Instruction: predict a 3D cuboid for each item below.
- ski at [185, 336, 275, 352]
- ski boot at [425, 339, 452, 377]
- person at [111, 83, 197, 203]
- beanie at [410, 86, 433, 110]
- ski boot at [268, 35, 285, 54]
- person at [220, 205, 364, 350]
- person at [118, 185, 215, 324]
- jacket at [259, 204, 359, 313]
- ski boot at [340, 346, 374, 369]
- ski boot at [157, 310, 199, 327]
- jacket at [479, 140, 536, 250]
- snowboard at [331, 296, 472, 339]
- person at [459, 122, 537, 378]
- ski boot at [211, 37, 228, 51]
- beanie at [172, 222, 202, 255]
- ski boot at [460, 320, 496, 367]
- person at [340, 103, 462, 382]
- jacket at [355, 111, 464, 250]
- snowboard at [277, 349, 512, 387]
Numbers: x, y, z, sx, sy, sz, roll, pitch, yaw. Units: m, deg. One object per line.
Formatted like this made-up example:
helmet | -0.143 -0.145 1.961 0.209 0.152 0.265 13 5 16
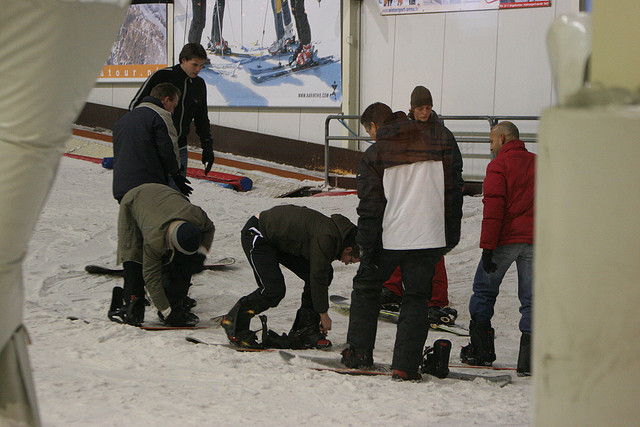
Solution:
ski | -0.659 0.906 5.031 0.604 0.050 0.234 5 7 12
ski boot | 0.791 0.942 4.724 0.162 0.267 0.177 9 -22 10
person | -1.314 -0.556 5.725 0.573 0.921 0.453 1 7 -17
beanie | 0.848 -0.972 6.197 0.165 0.199 0.263 4 7 6
ski boot | -0.749 -2.867 12.606 0.449 0.124 0.166 -38 -5 21
person | -0.162 0.472 5.252 1.060 1.061 0.562 3 3 1
person | -1.155 0.326 5.475 0.669 1.046 0.758 1 8 -21
jacket | -0.107 0.311 5.058 0.353 0.693 0.671 -3 9 -39
ski boot | 0.231 0.903 4.656 0.203 0.148 0.131 4 7 5
ski boot | -1.081 0.783 5.611 0.256 0.102 0.142 9 -5 -8
jacket | 1.287 -0.129 5.016 0.346 0.743 0.348 5 7 11
snowboard | 0.599 0.770 5.387 1.178 0.127 0.164 15 27 30
person | 1.277 0.294 4.996 0.546 1.579 0.456 8 8 31
ski boot | -1.794 -2.995 13.074 0.250 0.148 0.171 13 33 31
beanie | -0.979 0.163 5.177 0.082 0.217 0.162 -17 -30 10
ski boot | 1.103 0.913 5.158 0.175 0.314 0.325 3 -3 -25
person | 0.524 0.213 4.569 0.688 1.574 0.439 3 7 0
jacket | 0.563 -0.173 4.581 0.659 0.803 0.299 4 7 3
snowboard | 0.452 0.982 4.647 1.179 0.062 0.175 3 1 4
